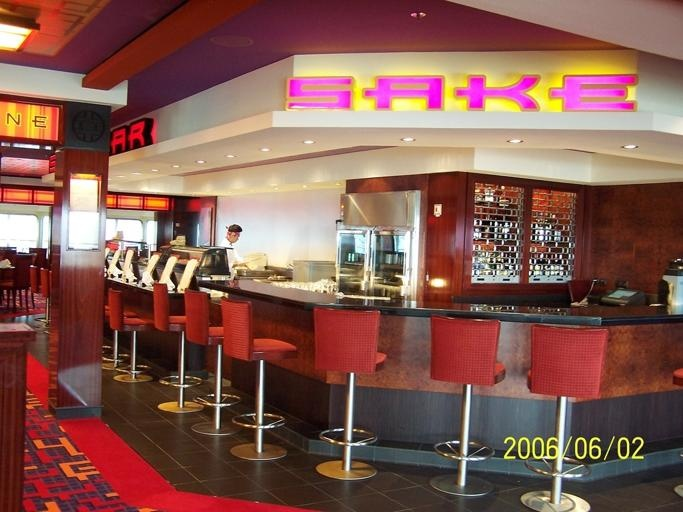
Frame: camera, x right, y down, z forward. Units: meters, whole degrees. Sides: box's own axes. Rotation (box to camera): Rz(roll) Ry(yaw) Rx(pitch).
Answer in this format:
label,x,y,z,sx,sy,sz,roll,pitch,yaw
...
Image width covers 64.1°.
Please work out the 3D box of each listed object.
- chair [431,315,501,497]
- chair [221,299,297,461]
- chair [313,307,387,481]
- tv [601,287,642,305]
label,x,y,z,sx,sy,sz,roll,pitch,yaw
chair,0.973,1.131,4.294,0.592,1.006,0.548,7,3,18
chair,-0.777,1.029,4.838,0.678,1.321,0.823,5,3,-10
chair,0.073,1.074,4.440,0.610,1.331,0.514,7,3,15
tv,3.572,0.509,6.909,0.368,0.093,0.256,-12,10,-37
